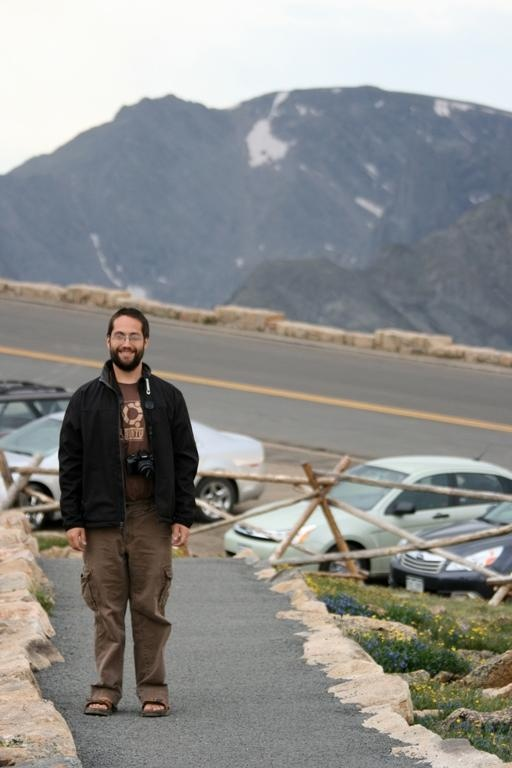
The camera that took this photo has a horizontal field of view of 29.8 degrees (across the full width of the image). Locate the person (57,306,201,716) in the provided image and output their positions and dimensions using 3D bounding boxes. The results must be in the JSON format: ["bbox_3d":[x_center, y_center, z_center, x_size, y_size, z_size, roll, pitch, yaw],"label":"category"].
[{"bbox_3d":[-0.496,0.583,3.848,0.561,1.716,0.585,-2,14,-15],"label":"person"}]

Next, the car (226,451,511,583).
[{"bbox_3d":[1.560,1.595,11.483,3.675,1.124,1.506,-1,2,-32],"label":"car"}]

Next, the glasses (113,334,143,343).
[{"bbox_3d":[-0.509,-0.166,3.799,0.109,0.036,0.040,0,13,-7],"label":"glasses"}]

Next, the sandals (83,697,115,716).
[{"bbox_3d":[-0.611,1.360,3.741,0.115,0.086,0.063,-1,14,-12],"label":"sandals"}]

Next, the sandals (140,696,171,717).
[{"bbox_3d":[-0.399,1.383,3.810,0.109,0.090,0.094,-1,13,-11],"label":"sandals"}]

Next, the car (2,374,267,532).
[{"bbox_3d":[-1.587,1.336,12.996,3.706,1.107,1.610,3,-1,-13],"label":"car"}]

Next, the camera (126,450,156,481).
[{"bbox_3d":[-0.456,0.356,3.783,0.141,0.092,0.096,-3,32,-16],"label":"camera"}]
